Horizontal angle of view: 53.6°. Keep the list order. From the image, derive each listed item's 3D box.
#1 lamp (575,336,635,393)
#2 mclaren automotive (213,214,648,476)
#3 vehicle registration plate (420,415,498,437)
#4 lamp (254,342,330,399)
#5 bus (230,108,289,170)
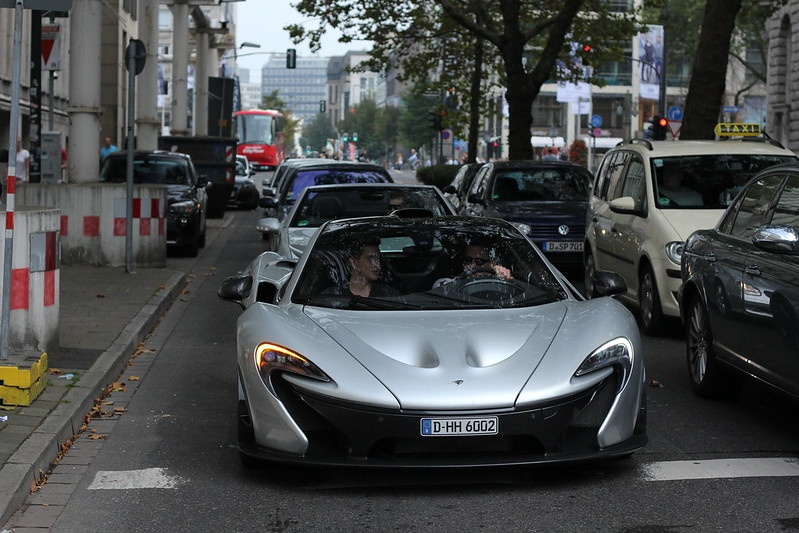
[{"bbox_3d":[1.348,0.650,5.118,0.493,0.297,0.170,-6,9,-41],"label":"lamp"},{"bbox_3d":[0.226,0.440,5.873,2.786,1.454,2.197,-1,7,-6],"label":"mclaren automotive"},{"bbox_3d":[0.374,0.983,4.867,0.484,0.112,0.027,0,6,0],"label":"vehicle registration plate"},{"bbox_3d":[-0.712,0.668,5.081,0.591,0.266,0.139,5,8,34],"label":"lamp"},{"bbox_3d":[-12.762,-9.817,72.223,3.766,5.883,12.559,0,-10,-5],"label":"bus"}]
